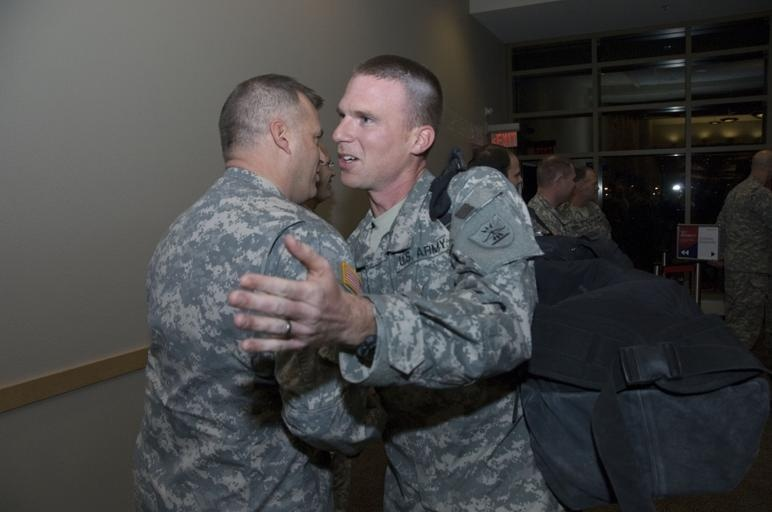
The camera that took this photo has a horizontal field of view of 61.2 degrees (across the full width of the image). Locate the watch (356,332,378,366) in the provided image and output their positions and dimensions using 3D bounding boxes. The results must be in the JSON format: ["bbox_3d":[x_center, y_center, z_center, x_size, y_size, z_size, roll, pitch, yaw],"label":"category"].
[{"bbox_3d":[-0.060,0.285,2.001,0.072,0.092,0.031,37,15,16],"label":"watch"}]

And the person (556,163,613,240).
[{"bbox_3d":[1.796,-0.530,5.952,0.392,0.592,0.814,12,17,38],"label":"person"}]
